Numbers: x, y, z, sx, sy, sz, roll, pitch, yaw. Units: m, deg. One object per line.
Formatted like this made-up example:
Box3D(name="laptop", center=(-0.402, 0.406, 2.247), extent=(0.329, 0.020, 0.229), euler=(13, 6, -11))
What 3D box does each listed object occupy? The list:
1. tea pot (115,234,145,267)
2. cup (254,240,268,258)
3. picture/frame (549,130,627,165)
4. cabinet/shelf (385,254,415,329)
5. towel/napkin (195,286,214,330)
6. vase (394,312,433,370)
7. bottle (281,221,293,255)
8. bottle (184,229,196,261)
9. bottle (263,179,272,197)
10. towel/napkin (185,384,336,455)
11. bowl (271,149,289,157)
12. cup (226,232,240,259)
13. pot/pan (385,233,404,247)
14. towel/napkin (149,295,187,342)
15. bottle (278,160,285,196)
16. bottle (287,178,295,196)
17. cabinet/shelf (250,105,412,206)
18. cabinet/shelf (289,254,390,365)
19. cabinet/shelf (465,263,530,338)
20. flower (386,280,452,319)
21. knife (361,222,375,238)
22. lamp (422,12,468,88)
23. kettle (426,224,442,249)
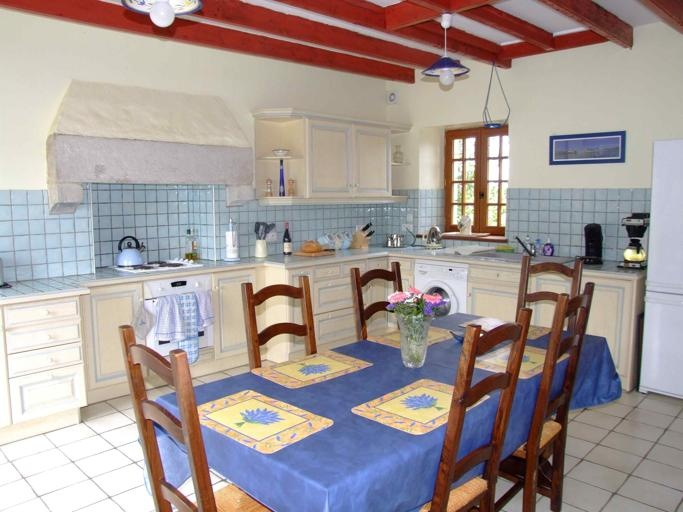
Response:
Box3D(name="tea pot", center=(-1.933, -0.053, 4.536), extent=(0.255, 0.274, 0.181), euler=(-9, 21, -45))
Box3D(name="cup", center=(-0.840, -0.081, 5.137), extent=(0.132, 0.174, 0.148), euler=(-1, 15, -11))
Box3D(name="picture/frame", center=(2.442, -1.074, 4.922), extent=(0.668, 0.330, 0.008), euler=(2, -16, 24))
Box3D(name="cabinet/shelf", center=(0.627, 0.397, 5.560), extent=(0.264, 0.687, 0.268), euler=(2, 2, -28))
Box3D(name="towel/napkin", center=(-1.226, 0.469, 4.462), extent=(0.099, 0.311, 0.237), euler=(-4, -3, 34))
Box3D(name="vase", center=(0.394, 0.461, 2.696), extent=(0.221, 0.291, 0.229), euler=(-1, -5, 16))
Box3D(name="bottle", center=(-0.589, -0.198, 5.398), extent=(0.088, 0.326, 0.250), euler=(0, 14, -6))
Box3D(name="bottle", center=(-1.504, -0.120, 4.939), extent=(0.118, 0.266, 0.337), euler=(-3, 15, -17))
Box3D(name="bottle", center=(-0.770, -0.733, 5.215), extent=(0.091, 0.181, 0.111), euler=(0, 14, -7))
Box3D(name="towel/napkin", center=(-0.342, 0.714, 2.105), extent=(0.411, 0.003, 0.292), euler=(7, 10, 43))
Box3D(name="bowl", center=(-0.623, -1.073, 5.126), extent=(0.161, 0.075, 0.127), euler=(0, 14, -9))
Box3D(name="cup", center=(-1.103, -0.120, 4.977), extent=(0.130, 0.279, 0.200), euler=(-1, 14, -9))
Box3D(name="pot/pan", center=(0.643, -0.197, 6.008), extent=(0.162, 0.128, 0.170), euler=(4, 7, 30))
Box3D(name="towel/napkin", center=(-1.501, 0.544, 4.232), extent=(0.395, 0.556, 0.108), euler=(-1, 5, -27))
Box3D(name="bottle", center=(-0.626, -0.839, 5.231), extent=(0.061, 0.374, 0.165), euler=(-1, 15, -9))
Box3D(name="bottle", center=(-0.527, -0.731, 5.221), extent=(0.085, 0.167, 0.107), euler=(0, 14, -7))
Box3D(name="cabinet/shelf", center=(-0.006, -1.057, 5.582), extent=(1.826, 1.038, 0.465), euler=(-4, 6, -33))
Box3D(name="cabinet/shelf", center=(-0.085, 0.480, 5.360), extent=(1.242, 0.943, 0.450), euler=(-8, 14, -26))
Box3D(name="cabinet/shelf", center=(1.675, 0.520, 5.056), extent=(0.607, 0.799, 0.459), euler=(4, 8, -31))
Box3D(name="flower", center=(0.446, 0.254, 2.766), extent=(0.380, 0.220, 0.386), euler=(0, 1, 28))
Box3D(name="knife", center=(0.338, -0.337, 6.145), extent=(0.057, 0.196, 0.188), euler=(22, 17, 22))
Box3D(name="lamp", center=(0.813, -1.624, 3.835), extent=(0.320, 0.544, 0.323), euler=(6, 10, 37))
Box3D(name="kettle", center=(1.136, -0.216, 5.861), extent=(0.222, 0.323, 0.243), euler=(3, 4, 26))
